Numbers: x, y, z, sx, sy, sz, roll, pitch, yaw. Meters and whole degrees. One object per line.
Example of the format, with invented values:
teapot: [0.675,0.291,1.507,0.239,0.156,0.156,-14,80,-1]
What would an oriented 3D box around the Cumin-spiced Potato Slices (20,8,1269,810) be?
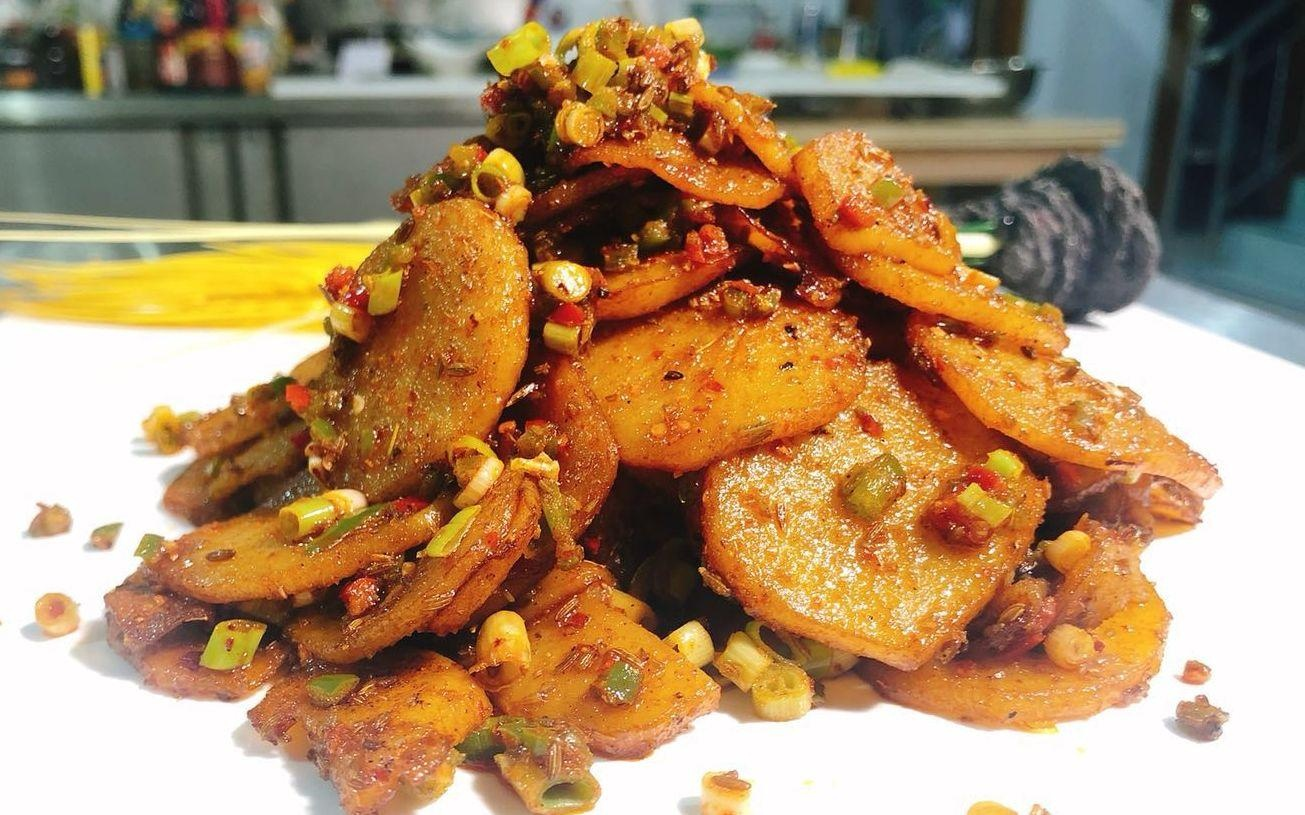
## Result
Cumin-spiced Potato Slices: [-0.479,0.184,7.421,4.467,3.854,3.379,0,6,-11]
